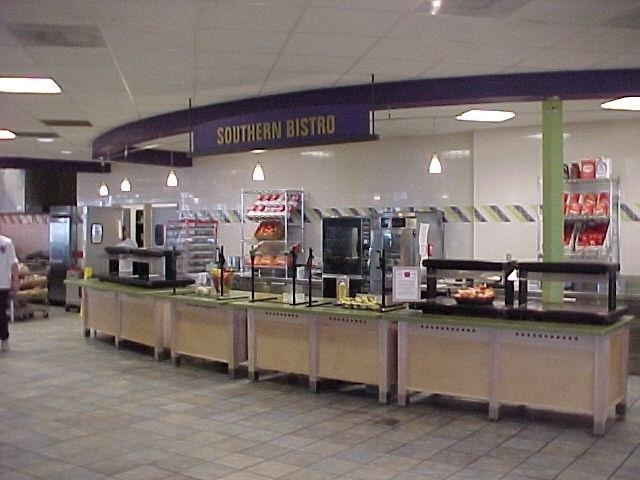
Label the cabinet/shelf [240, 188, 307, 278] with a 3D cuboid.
[{"bbox_3d":[-0.962,-0.130,11.206,1.168,1.656,0.576,-7,21,-11],"label":"cabinet/shelf"}]

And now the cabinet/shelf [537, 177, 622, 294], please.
[{"bbox_3d":[3.963,-0.295,8.361,0.734,1.229,0.657,1,3,21],"label":"cabinet/shelf"}]

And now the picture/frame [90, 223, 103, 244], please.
[{"bbox_3d":[-5.450,-0.150,13.888,0.321,0.503,0.045,0,3,11],"label":"picture/frame"}]

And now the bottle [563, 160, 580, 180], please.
[{"bbox_3d":[3.746,-1.021,8.506,0.204,0.238,0.276,1,3,23],"label":"bottle"}]

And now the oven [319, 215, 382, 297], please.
[{"bbox_3d":[0.416,0.442,10.134,0.981,1.515,0.571,1,6,-1],"label":"oven"}]

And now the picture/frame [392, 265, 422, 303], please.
[{"bbox_3d":[0.961,0.504,6.381,0.488,0.524,0.056,0,0,3],"label":"picture/frame"}]

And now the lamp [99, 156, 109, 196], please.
[{"bbox_3d":[-5.531,-1.575,14.636,0.329,0.928,1.429,-1,3,-21],"label":"lamp"}]

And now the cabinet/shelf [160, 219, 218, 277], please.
[{"bbox_3d":[-2.732,0.148,12.133,1.067,1.132,0.830,-1,3,-13],"label":"cabinet/shelf"}]

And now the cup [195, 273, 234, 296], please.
[{"bbox_3d":[-1.459,0.627,8.015,0.343,0.179,0.452,7,-11,-42],"label":"cup"}]
